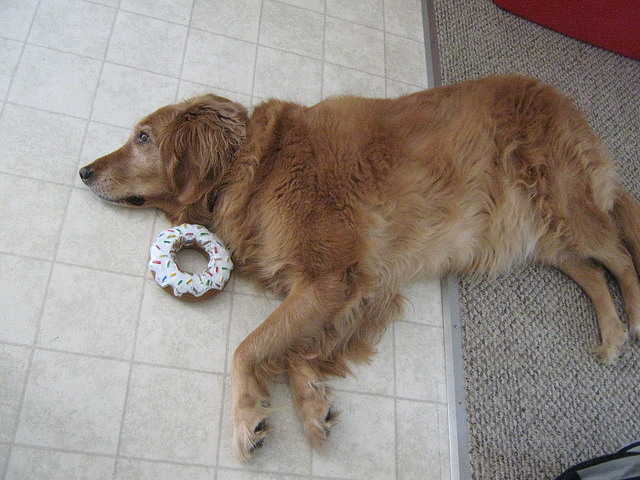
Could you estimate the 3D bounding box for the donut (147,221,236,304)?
[{"bbox_3d":[-0.663,0.120,3.104,0.404,0.141,0.406,-10,64,-24],"label":"donut"}]
